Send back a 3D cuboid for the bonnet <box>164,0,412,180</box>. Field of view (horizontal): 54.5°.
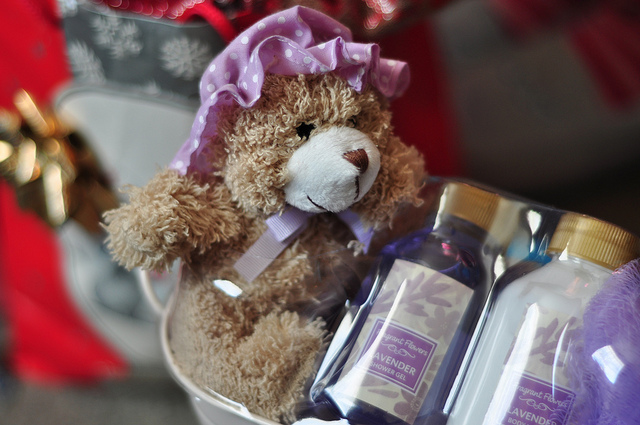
[{"bbox_3d":[-0.059,-0.200,0.966,0.418,0.156,0.146,-20,72,-13],"label":"bonnet"}]

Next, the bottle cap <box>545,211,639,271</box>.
[{"bbox_3d":[0.405,0.046,0.923,0.094,0.094,0.047,32,80,-17],"label":"bottle cap"}]

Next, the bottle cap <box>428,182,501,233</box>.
[{"bbox_3d":[0.224,-0.014,0.970,0.081,0.080,0.062,32,101,46],"label":"bottle cap"}]
